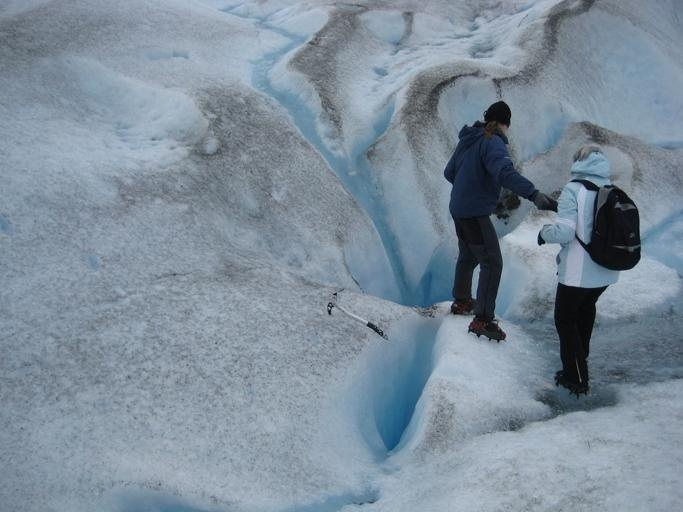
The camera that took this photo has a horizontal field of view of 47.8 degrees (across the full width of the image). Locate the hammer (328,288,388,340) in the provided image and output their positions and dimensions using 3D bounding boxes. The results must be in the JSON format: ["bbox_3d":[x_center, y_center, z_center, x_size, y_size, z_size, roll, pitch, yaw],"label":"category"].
[{"bbox_3d":[0.144,0.868,11.126,0.557,0.424,1.103,-29,48,-31],"label":"hammer"}]
